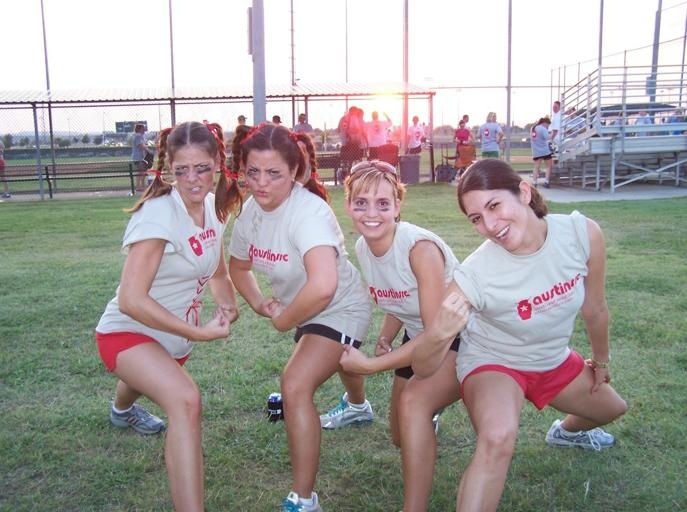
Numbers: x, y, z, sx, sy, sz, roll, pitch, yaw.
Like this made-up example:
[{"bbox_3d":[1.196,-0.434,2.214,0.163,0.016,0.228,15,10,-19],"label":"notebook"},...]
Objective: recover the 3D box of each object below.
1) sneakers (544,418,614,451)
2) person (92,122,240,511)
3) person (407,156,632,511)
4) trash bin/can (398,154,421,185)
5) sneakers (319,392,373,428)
[{"bbox_3d":[1.536,1.147,3.392,0.400,0.218,0.171,1,8,7],"label":"sneakers"},{"bbox_3d":[-0.991,0.292,2.958,0.869,2.085,1.309,-4,12,-12],"label":"person"},{"bbox_3d":[0.964,0.422,2.829,1.385,1.887,0.634,-9,14,-34],"label":"person"},{"bbox_3d":[2.195,-2.978,17.133,0.930,1.225,0.985,-2,5,-1],"label":"trash bin/can"},{"bbox_3d":[0.028,1.121,3.724,0.443,0.243,0.159,-2,2,-11],"label":"sneakers"}]
